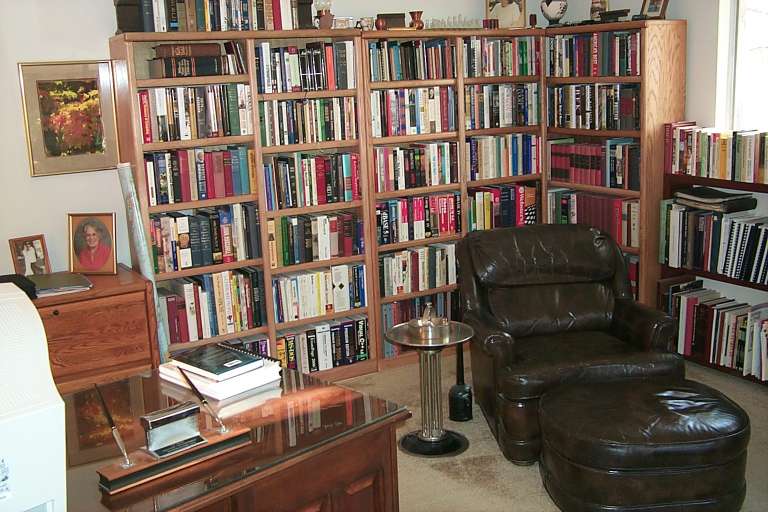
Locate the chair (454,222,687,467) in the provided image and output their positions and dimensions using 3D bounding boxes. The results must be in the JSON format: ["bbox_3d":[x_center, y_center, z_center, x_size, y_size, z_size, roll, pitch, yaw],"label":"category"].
[{"bbox_3d":[1.309,0.460,4.160,1.568,1.205,1.382,-4,9,-12],"label":"chair"}]

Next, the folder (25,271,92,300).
[{"bbox_3d":[-1.949,0.158,3.707,0.293,0.084,0.367,-11,15,-32],"label":"folder"}]
